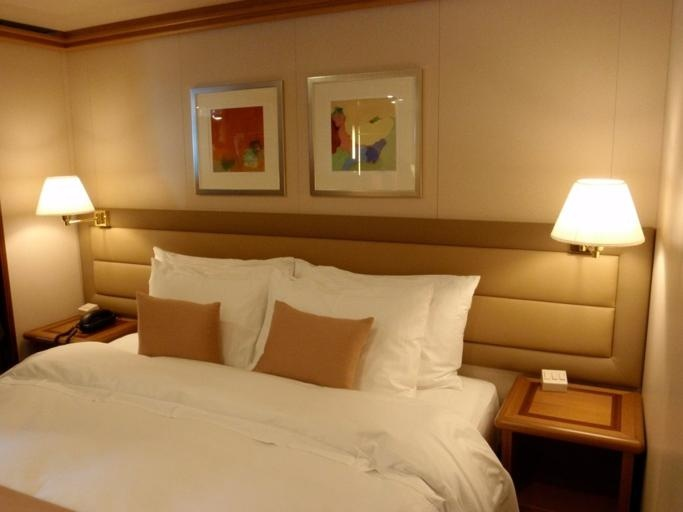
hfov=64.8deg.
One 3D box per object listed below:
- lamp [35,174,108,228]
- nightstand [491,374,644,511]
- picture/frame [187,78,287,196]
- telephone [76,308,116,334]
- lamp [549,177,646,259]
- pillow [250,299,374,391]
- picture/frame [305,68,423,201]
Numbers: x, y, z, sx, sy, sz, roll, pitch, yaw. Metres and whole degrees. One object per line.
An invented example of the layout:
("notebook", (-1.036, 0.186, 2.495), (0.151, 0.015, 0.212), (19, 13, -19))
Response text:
("lamp", (-1.989, -0.413, 4.033), (0.355, 0.385, 0.444), (0, 6, 10))
("nightstand", (1.165, 0.825, 2.751), (0.635, 0.721, 0.670), (2, 7, 26))
("picture/frame", (-0.706, -0.847, 3.723), (0.713, 0.830, 0.029), (4, 10, 26))
("telephone", (-1.837, 0.474, 4.053), (0.170, 0.139, 0.313), (8, 12, 31))
("lamp", (1.307, -0.221, 2.725), (0.367, 0.364, 0.364), (-13, 18, -42))
("pillow", (-0.160, 0.498, 2.912), (0.563, 0.411, 0.172), (7, -15, 26))
("picture/frame", (0.168, -0.791, 3.384), (0.739, 0.849, 0.029), (2, 9, 23))
